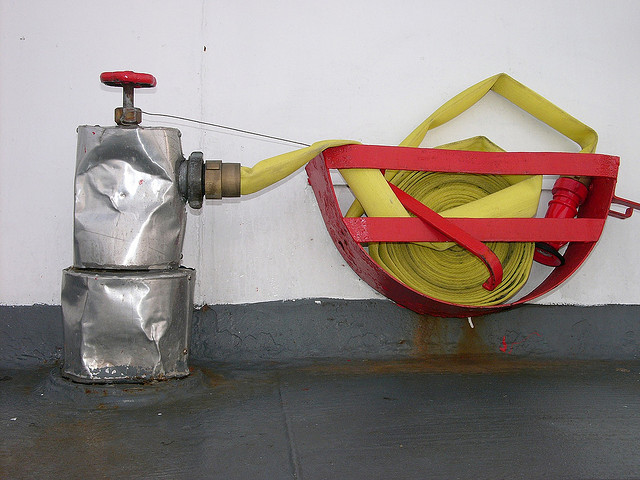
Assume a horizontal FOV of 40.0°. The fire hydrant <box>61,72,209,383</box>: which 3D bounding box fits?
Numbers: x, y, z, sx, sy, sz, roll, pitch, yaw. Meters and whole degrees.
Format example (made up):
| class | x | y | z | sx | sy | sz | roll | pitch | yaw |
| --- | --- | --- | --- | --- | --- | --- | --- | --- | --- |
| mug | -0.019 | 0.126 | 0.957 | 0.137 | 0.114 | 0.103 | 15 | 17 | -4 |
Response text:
| class | x | y | z | sx | sy | sz | roll | pitch | yaw |
| --- | --- | --- | --- | --- | --- | --- | --- | --- | --- |
| fire hydrant | -0.486 | -0.038 | 2.345 | 0.368 | 0.789 | 0.325 | 2 | 16 | -3 |
